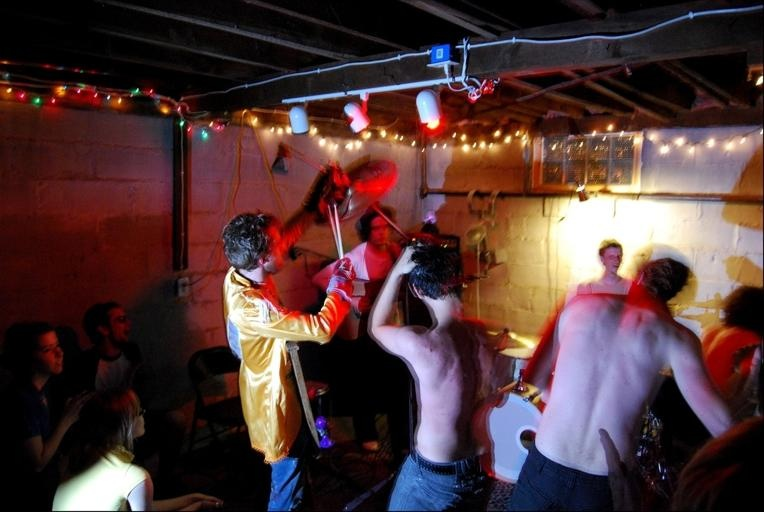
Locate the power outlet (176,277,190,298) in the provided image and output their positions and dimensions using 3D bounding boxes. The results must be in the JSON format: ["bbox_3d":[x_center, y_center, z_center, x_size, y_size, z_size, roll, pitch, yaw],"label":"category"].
[{"bbox_3d":[-2.004,0.311,5.133,0.033,0.274,0.199,-1,-2,27],"label":"power outlet"}]

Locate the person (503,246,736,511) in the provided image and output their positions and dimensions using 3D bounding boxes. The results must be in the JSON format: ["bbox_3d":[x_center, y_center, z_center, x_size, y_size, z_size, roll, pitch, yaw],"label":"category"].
[{"bbox_3d":[1.481,0.868,3.272,1.152,1.681,0.547,5,11,16],"label":"person"}]

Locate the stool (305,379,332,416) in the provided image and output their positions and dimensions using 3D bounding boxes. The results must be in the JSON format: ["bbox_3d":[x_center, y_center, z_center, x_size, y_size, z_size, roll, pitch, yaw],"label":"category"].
[{"bbox_3d":[-0.572,1.258,4.589,0.155,0.400,0.659,-3,-23,-7],"label":"stool"}]

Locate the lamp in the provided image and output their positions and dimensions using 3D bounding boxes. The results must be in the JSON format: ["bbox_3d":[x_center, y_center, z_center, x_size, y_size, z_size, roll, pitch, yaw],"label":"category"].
[{"bbox_3d":[-0.010,-1.218,4.208,0.905,0.419,1.659,-8,15,-42],"label":"lamp"}]
